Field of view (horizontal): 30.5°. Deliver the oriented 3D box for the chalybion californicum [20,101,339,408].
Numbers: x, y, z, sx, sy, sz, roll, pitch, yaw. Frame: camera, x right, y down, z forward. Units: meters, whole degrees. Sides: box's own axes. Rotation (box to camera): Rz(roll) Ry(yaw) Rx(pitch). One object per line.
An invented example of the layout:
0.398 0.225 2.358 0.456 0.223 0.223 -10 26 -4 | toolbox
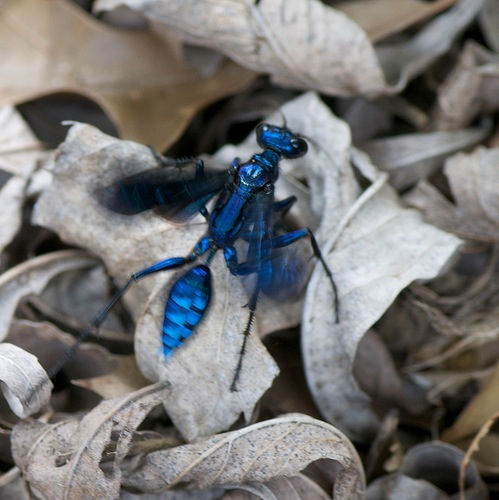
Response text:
-0.065 0.014 1.099 0.291 0.094 0.371 31 88 -7 | chalybion californicum
